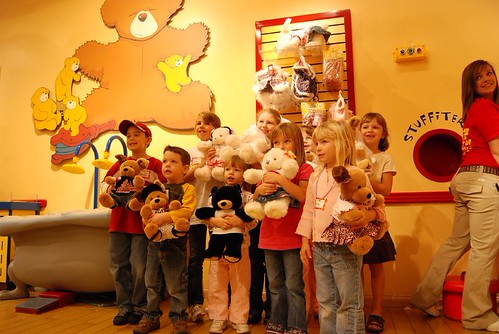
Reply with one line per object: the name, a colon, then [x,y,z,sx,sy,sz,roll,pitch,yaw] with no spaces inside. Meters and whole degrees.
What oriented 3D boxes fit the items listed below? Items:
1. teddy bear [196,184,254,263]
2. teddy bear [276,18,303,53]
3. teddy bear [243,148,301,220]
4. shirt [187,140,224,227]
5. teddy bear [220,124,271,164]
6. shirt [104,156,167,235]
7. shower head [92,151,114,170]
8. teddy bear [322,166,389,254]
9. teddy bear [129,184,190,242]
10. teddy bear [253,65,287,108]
teddy bear: [-0.188,0.442,3.221,0.382,0.662,0.390,2,1,4]
teddy bear: [0.408,-1.386,4.233,0.252,0.396,0.297,-1,1,-14]
teddy bear: [0.183,0.123,3.148,0.451,0.554,0.231,-1,1,-2]
shirt: [-0.419,0.165,3.832,0.277,0.838,0.287,-1,3,8]
teddy bear: [-0.019,-0.210,3.469,0.309,0.319,0.345,3,7,38]
shirt: [-1.132,0.249,3.699,0.558,0.706,0.366,-6,-7,30]
shower head: [-1.523,-0.059,4.296,0.182,0.194,0.182,-2,-17,27]
teddy bear: [0.732,0.260,3.146,0.531,0.747,0.595,-4,5,30]
teddy bear: [-0.724,0.366,3.322,0.281,0.398,0.280,-30,-7,-20]
teddy bear: [0.193,-0.840,4.118,0.339,0.393,0.126,-4,-10,35]
